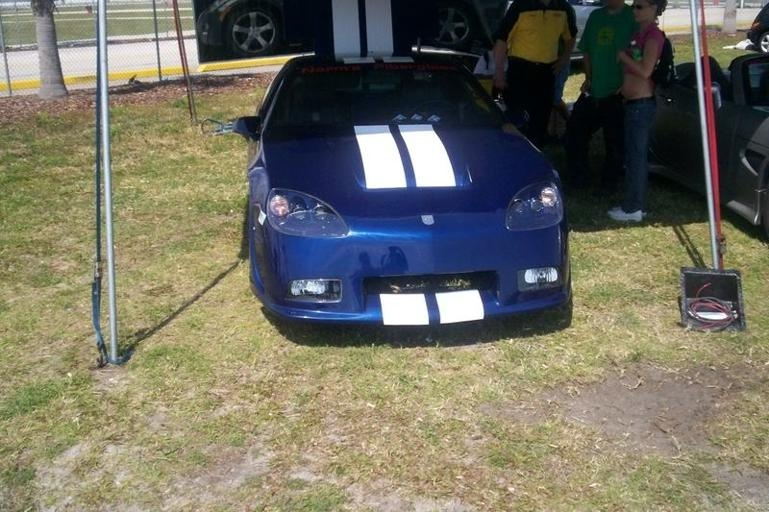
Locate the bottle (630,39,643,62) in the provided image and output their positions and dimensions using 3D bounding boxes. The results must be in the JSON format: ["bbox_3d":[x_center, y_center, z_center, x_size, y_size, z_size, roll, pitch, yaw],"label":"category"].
[{"bbox_3d":[2.354,-1.935,6.328,0.064,0.176,0.204,-5,20,-5],"label":"bottle"}]

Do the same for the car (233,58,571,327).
[{"bbox_3d":[0.115,-0.578,5.514,2.378,1.836,2.218,-4,20,-3],"label":"car"}]
